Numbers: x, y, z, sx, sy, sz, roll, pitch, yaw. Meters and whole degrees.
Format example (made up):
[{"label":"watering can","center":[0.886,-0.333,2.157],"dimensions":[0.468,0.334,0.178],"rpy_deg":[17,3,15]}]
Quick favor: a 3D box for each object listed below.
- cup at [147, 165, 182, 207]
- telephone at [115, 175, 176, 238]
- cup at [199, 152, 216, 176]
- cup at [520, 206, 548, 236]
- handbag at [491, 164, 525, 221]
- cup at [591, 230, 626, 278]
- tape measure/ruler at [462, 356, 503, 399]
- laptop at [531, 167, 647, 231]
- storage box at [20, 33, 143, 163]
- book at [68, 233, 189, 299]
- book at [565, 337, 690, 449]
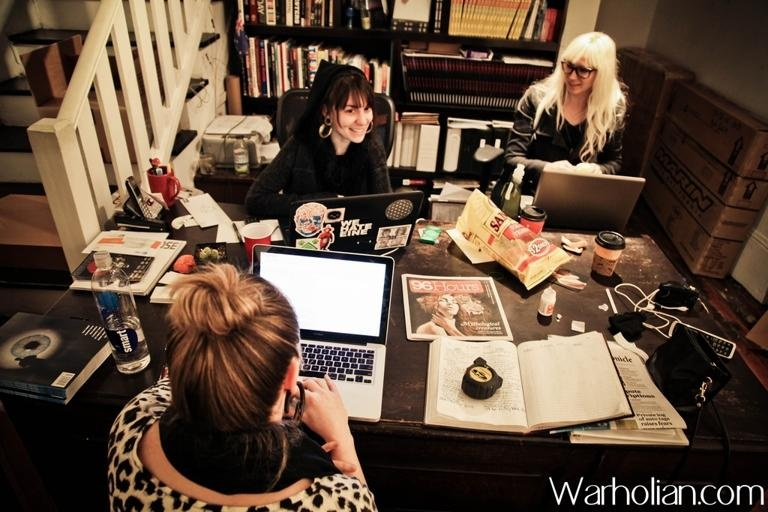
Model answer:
[{"label":"cup","center":[-1.138,-0.349,2.701],"dimensions":[0.205,0.182,0.128],"rpy_deg":[20,36,18]},{"label":"telephone","center":[-1.227,-0.278,2.632],"dimensions":[0.246,0.243,0.363],"rpy_deg":[4,20,-21]},{"label":"cup","center":[-1.228,-0.633,3.581],"dimensions":[0.131,0.158,0.073],"rpy_deg":[-10,37,-16]},{"label":"cup","center":[0.743,-0.177,2.606],"dimensions":[0.139,0.136,0.140],"rpy_deg":[1,36,0]},{"label":"handbag","center":[0.666,-0.338,2.677],"dimensions":[0.137,0.336,0.097],"rpy_deg":[20,53,22]},{"label":"cup","center":[1.061,0.002,2.481],"dimensions":[0.147,0.177,0.151],"rpy_deg":[11,8,-2]},{"label":"tape measure/ruler","center":[0.363,0.460,1.986],"dimensions":[0.143,0.057,0.185],"rpy_deg":[1,28,3]},{"label":"laptop","center":[1.020,-0.281,2.623],"dimensions":[0.476,0.311,0.339],"rpy_deg":[3,41,0]},{"label":"storage box","center":[-1.796,-0.979,3.249],"dimensions":[0.456,0.716,0.689],"rpy_deg":[2,30,-4]},{"label":"book","center":[-1.127,0.018,2.353],"dimensions":[0.438,0.040,0.470],"rpy_deg":[-5,40,-34]},{"label":"book","center":[0.899,0.533,2.012],"dimensions":[0.447,0.178,0.382],"rpy_deg":[3,30,-2]}]
